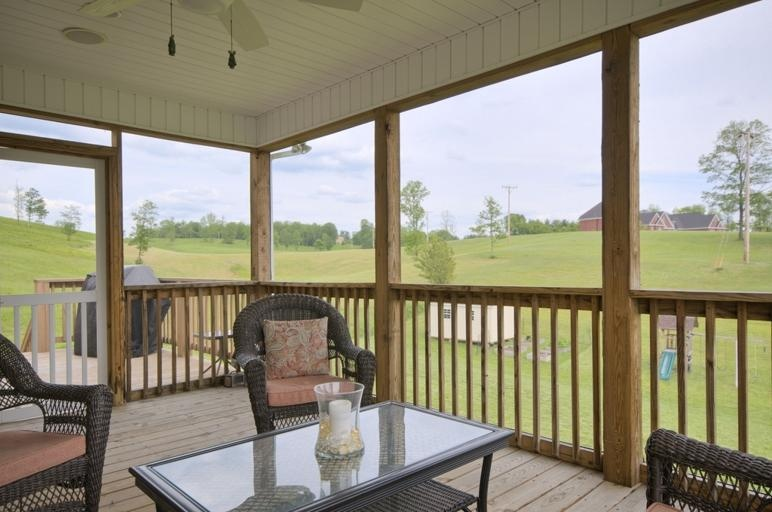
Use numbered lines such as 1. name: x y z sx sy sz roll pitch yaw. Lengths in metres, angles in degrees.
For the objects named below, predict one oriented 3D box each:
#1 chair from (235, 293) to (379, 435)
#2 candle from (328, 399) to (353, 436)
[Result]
1. chair: -0.792 0.849 5.194 1.164 1.299 1.159 -1 -8 -22
2. candle: -0.290 1.049 3.847 0.201 0.218 0.196 -1 3 -23
